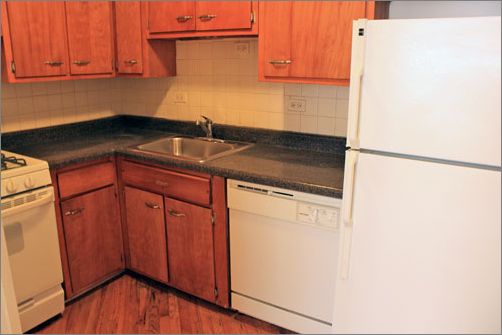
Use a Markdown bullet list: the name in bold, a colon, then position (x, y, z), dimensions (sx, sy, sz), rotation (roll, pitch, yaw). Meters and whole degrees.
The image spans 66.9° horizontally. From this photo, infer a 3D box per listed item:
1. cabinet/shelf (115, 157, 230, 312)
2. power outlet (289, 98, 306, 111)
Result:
- **cabinet/shelf**: position (-0.566, 0.480, 2.848), dimensions (0.993, 0.924, 0.612), rotation (7, 15, 26)
- **power outlet**: position (0.359, -0.485, 2.945), dimensions (0.162, 0.106, 0.087), rotation (5, 10, 33)
